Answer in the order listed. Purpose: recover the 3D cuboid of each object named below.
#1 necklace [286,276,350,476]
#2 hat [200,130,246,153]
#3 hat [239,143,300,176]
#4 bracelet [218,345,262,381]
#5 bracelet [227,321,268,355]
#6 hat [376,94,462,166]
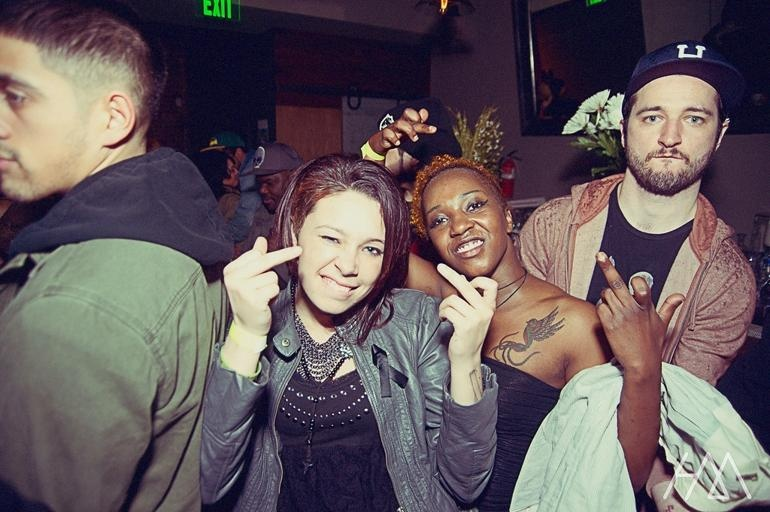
[{"bbox_3d":[-0.251,0.573,2.247,0.288,0.510,0.101,4,-6,-9],"label":"necklace"},{"bbox_3d":[-1.734,-1.246,6.117,0.482,0.235,0.363,1,1,-25],"label":"hat"},{"bbox_3d":[-0.853,-0.717,4.195,0.390,0.200,0.275,-7,10,-27],"label":"hat"},{"bbox_3d":[-0.512,0.391,2.036,0.123,0.092,0.125,2,1,7],"label":"bracelet"},{"bbox_3d":[-0.483,0.287,1.974,0.116,0.056,0.117,31,0,14],"label":"bracelet"},{"bbox_3d":[0.260,-0.802,3.512,0.506,0.477,0.164,-6,-15,-18],"label":"hat"}]
